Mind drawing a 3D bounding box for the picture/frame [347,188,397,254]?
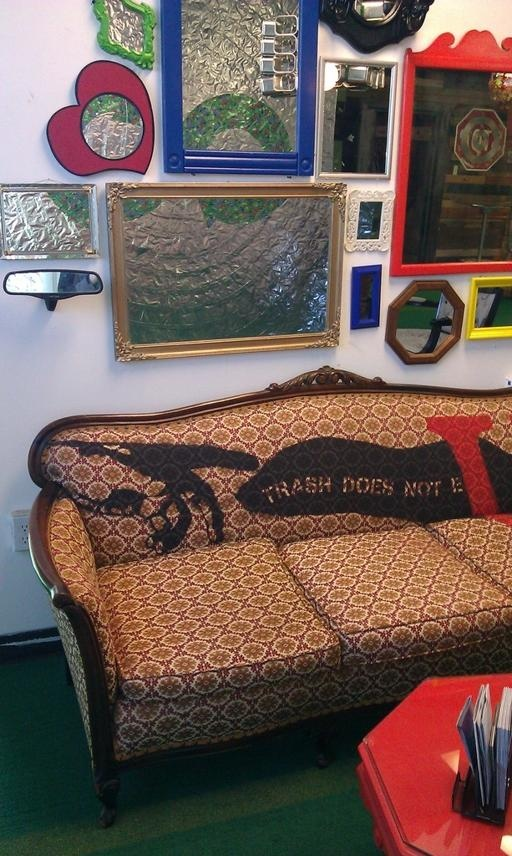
[{"bbox_3d":[0.419,-0.777,2.305,0.205,0.247,0.027,-7,20,-23],"label":"picture/frame"}]

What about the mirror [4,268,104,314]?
[{"bbox_3d":[-0.604,-0.432,1.860,0.275,0.082,0.042,-2,10,-17],"label":"mirror"}]

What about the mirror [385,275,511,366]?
[{"bbox_3d":[0.764,-0.453,2.539,0.394,0.504,0.025,-1,26,-32],"label":"mirror"}]

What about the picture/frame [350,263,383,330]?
[{"bbox_3d":[0.418,-0.501,2.383,0.133,0.242,0.057,-5,11,-30],"label":"picture/frame"}]
